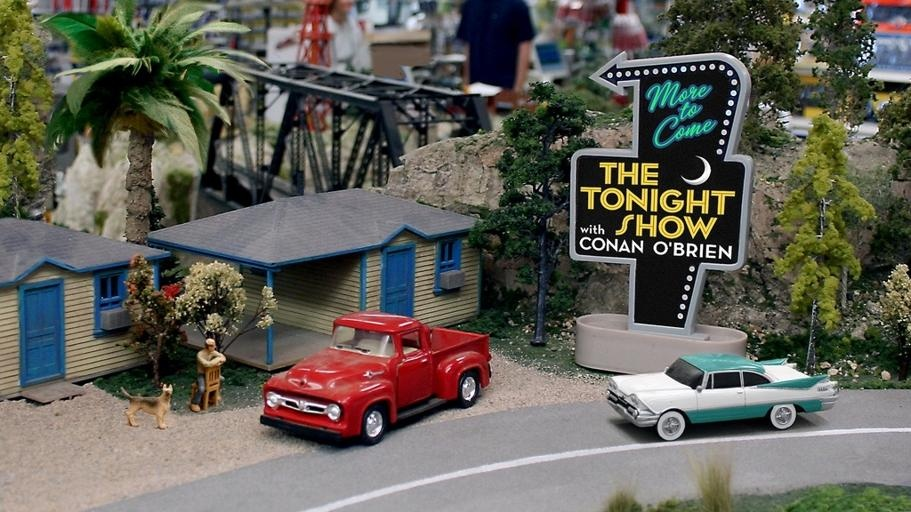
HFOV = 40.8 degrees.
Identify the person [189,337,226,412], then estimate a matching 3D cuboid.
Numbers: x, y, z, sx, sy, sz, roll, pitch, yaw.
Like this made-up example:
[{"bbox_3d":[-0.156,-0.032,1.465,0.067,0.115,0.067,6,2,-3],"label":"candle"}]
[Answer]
[{"bbox_3d":[-9.044,4.310,44.835,1.141,2.759,0.818,-1,11,-23],"label":"person"}]
